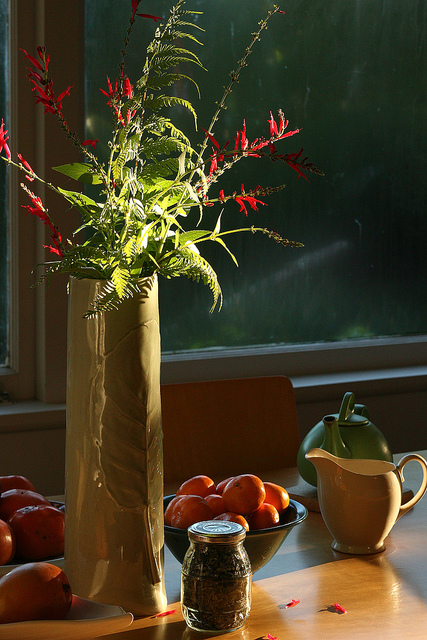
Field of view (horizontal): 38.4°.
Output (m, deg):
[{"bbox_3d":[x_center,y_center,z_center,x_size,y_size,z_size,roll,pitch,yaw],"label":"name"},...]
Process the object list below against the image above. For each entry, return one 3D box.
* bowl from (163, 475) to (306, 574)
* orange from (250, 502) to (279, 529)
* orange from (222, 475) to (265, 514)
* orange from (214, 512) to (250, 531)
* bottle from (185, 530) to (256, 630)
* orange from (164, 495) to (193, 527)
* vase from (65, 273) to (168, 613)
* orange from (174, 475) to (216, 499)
[{"bbox_3d":[0.021,0.186,0.611,0.121,0.061,0.117,0,2,0],"label":"bowl"},{"bbox_3d":[0.050,0.193,0.602,0.024,0.026,0.023,12,-30,0],"label":"orange"},{"bbox_3d":[0.030,0.173,0.605,0.035,0.033,0.037,-21,-14,38],"label":"orange"},{"bbox_3d":[0.019,0.186,0.573,0.028,0.025,0.027,1,-22,-3],"label":"orange"},{"bbox_3d":[0.001,0.210,0.505,0.054,0.077,0.060,0,1,-38],"label":"bottle"},{"bbox_3d":[-0.033,0.193,0.619,0.025,0.022,0.022,-2,-3,26],"label":"orange"},{"bbox_3d":[-0.085,0.109,0.523,0.086,0.297,0.058,-2,2,-12],"label":"vase"},{"bbox_3d":[-0.021,0.181,0.680,0.025,0.017,0.032,-2,1,11],"label":"orange"}]
